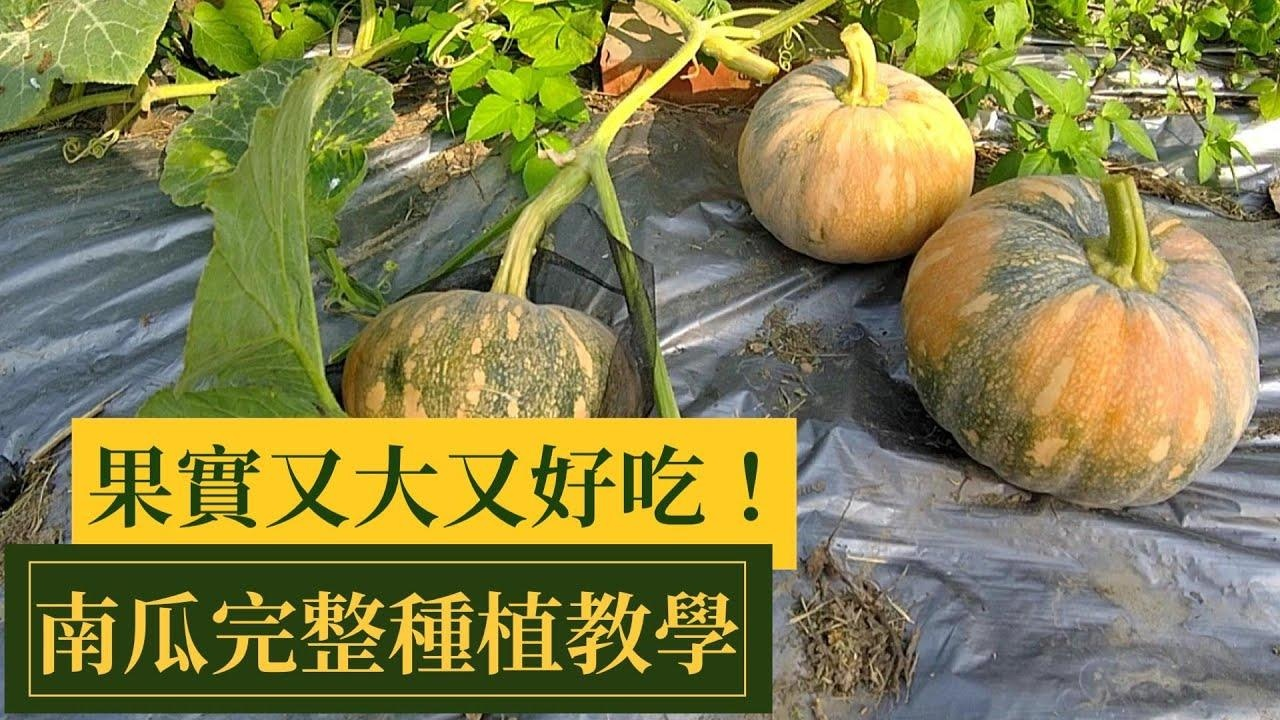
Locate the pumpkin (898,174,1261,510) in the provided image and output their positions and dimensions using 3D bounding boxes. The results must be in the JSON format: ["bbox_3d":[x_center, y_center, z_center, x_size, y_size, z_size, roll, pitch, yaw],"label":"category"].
[{"bbox_3d":[1.426,-0.019,3.431,1.062,0.983,1.117,6,49,3],"label":"pumpkin"}]
